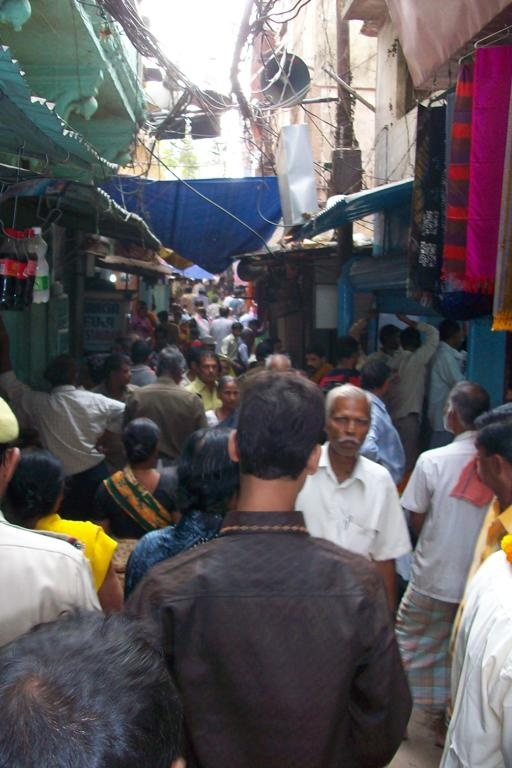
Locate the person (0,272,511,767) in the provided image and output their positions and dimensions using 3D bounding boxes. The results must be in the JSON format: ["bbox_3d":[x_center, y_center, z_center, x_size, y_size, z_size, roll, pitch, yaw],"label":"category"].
[{"bbox_3d":[0.240,0.431,2.071,1.535,1.020,1.441,12,-9,-24],"label":"person"}]
